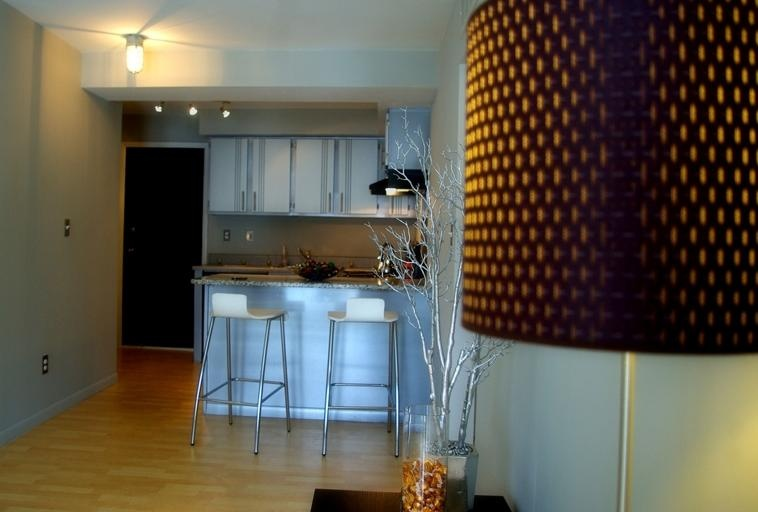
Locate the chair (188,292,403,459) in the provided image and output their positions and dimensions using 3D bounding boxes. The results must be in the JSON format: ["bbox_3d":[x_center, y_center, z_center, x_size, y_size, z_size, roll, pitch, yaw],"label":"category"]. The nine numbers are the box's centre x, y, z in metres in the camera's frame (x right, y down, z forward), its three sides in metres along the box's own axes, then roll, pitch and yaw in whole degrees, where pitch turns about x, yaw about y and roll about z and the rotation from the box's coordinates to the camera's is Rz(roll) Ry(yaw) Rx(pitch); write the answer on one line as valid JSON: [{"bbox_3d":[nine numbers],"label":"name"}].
[{"bbox_3d":[-0.567,0.749,4.402,1.461,0.984,0.893,1,5,-2],"label":"chair"}]

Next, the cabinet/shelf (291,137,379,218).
[{"bbox_3d":[-0.491,-0.883,6.914,0.893,0.910,0.362,2,30,-3],"label":"cabinet/shelf"}]

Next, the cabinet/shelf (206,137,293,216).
[{"bbox_3d":[-1.405,-0.807,6.970,0.846,0.925,0.339,0,-15,-8],"label":"cabinet/shelf"}]

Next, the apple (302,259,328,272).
[{"bbox_3d":[-0.492,0.088,4.764,0.197,0.091,0.155,3,-3,31],"label":"apple"}]
